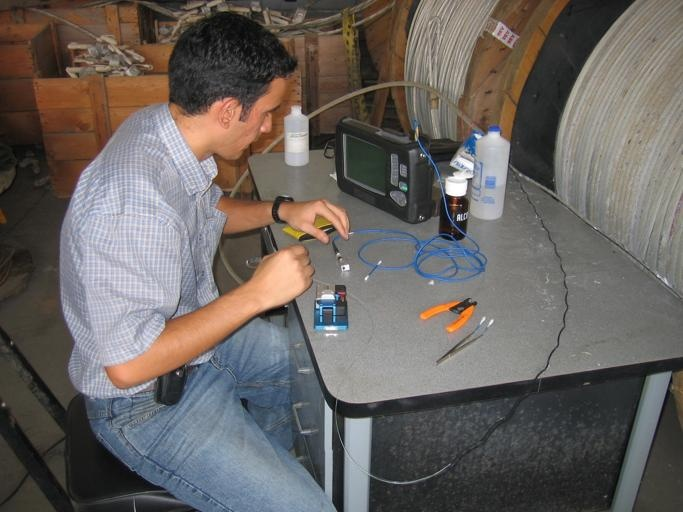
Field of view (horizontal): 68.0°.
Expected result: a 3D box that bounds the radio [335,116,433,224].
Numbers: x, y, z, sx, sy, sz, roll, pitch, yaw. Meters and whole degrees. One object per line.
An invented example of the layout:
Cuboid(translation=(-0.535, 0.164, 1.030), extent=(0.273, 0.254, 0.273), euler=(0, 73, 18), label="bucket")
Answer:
Cuboid(translation=(0.143, -0.323, 1.840), extent=(0.138, 0.303, 0.452), euler=(-24, 37, -30), label="radio")

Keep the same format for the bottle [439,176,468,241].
Cuboid(translation=(0.368, -0.160, 1.697), extent=(0.090, 0.208, 0.099), euler=(1, 18, 0), label="bottle")

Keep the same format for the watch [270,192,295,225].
Cuboid(translation=(-0.222, -0.171, 1.830), extent=(0.072, 0.102, 0.112), euler=(14, 9, 12), label="watch")
